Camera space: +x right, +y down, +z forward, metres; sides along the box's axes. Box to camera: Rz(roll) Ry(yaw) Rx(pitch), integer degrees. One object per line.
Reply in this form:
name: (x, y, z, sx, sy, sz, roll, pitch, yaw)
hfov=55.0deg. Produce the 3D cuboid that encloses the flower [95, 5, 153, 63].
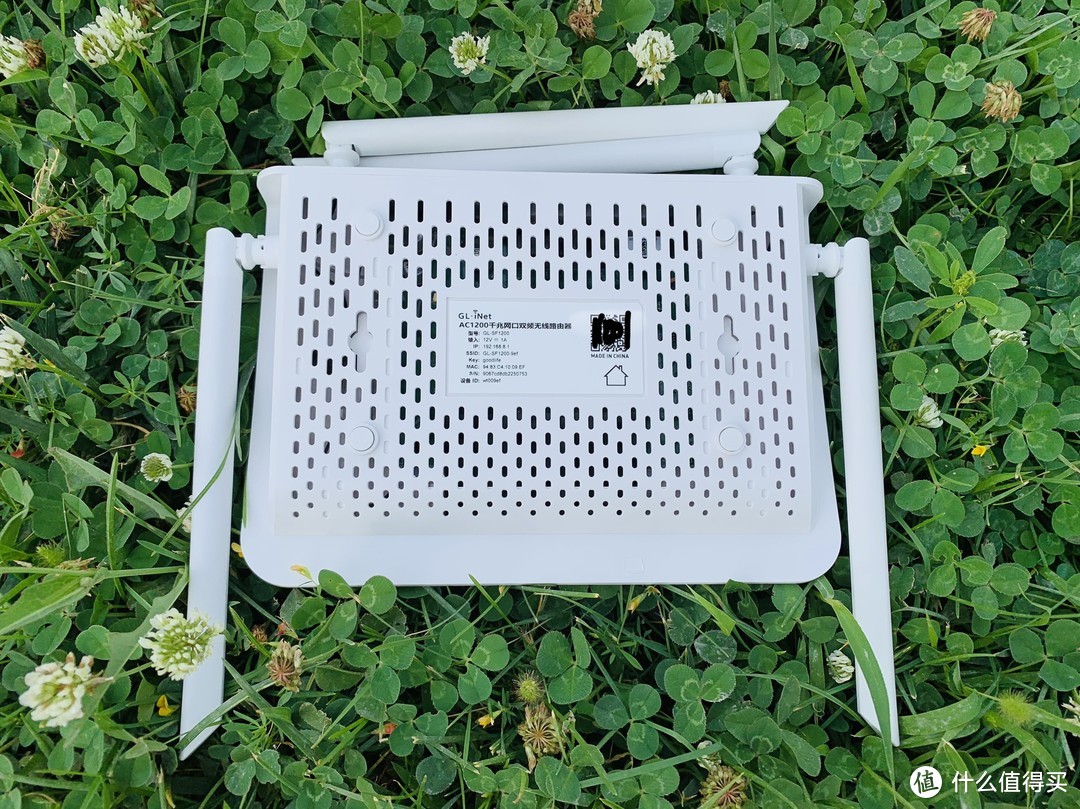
flower: (-0.738, -0.660, 1.834, 0.086, 0.052, 0.103, -7, 88, -17)

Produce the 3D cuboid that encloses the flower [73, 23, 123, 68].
flower: (-0.779, -0.630, 1.824, 0.073, 0.054, 0.069, 10, 96, -4)

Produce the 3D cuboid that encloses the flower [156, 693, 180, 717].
flower: (-0.633, 0.512, 1.775, 0.035, 0.013, 0.039, -19, 92, -46)

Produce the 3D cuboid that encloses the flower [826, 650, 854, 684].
flower: (0.523, 0.454, 1.807, 0.046, 0.025, 0.052, 5, 53, 4)

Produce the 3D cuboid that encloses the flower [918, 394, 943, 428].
flower: (0.694, 0.012, 1.845, 0.045, 0.023, 0.057, 0, 91, 5)

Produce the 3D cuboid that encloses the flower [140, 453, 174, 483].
flower: (-0.662, 0.109, 1.799, 0.047, 0.034, 0.051, 30, 102, 3)

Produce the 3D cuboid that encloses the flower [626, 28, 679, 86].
flower: (0.208, -0.633, 1.877, 0.081, 0.058, 0.102, -3, 98, -2)

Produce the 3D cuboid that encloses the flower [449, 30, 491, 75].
flower: (-0.125, -0.632, 1.864, 0.065, 0.037, 0.082, -2, 82, -3)

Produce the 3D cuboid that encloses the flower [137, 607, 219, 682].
flower: (-0.578, 0.380, 1.663, 0.097, 0.067, 0.124, 3, 92, 9)

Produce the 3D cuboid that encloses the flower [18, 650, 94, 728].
flower: (-0.758, 0.430, 1.634, 0.108, 0.041, 0.119, -22, 85, -6)
